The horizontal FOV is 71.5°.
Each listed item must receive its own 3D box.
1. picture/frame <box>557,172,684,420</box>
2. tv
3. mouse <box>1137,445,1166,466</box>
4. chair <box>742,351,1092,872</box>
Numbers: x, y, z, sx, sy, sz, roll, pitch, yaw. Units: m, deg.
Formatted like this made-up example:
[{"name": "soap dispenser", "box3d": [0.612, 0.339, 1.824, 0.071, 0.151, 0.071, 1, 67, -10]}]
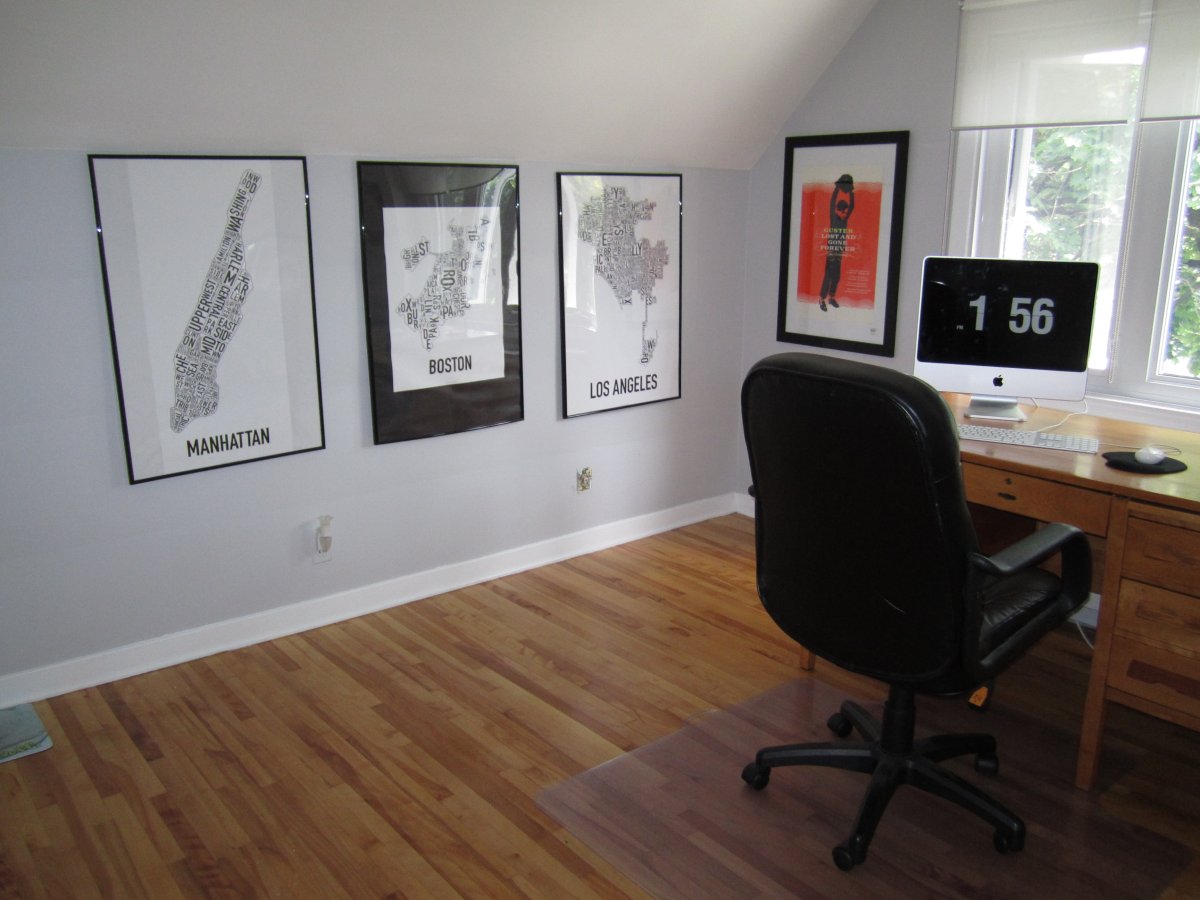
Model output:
[{"name": "picture/frame", "box3d": [0.081, -0.799, 4.121, 0.974, 1.509, 0.047, -11, 18, -34]}, {"name": "tv", "box3d": [1.523, -0.414, 3.111, 0.608, 0.649, 0.208, 9, 21, 30]}, {"name": "mouse", "box3d": [1.760, 0.014, 2.659, 0.077, 0.058, 0.082, -1, 9, 1]}, {"name": "chair", "box3d": [0.868, 0.438, 2.343, 0.893, 1.424, 0.503, -3, 14, -10]}]
